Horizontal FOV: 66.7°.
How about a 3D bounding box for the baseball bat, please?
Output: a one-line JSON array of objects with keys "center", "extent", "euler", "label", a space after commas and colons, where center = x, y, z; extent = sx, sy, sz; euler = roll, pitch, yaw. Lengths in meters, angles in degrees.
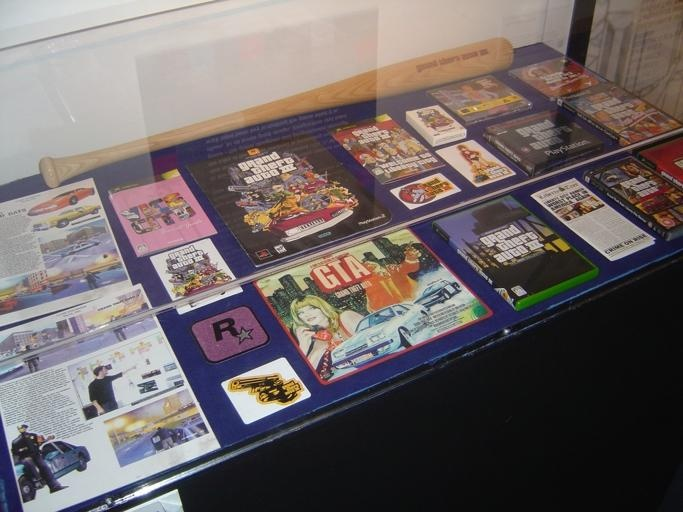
[{"center": [-0.195, -0.353, 1.299], "extent": [1.582, 0.117, 0.148], "euler": [-14, -5, -17], "label": "baseball bat"}]
